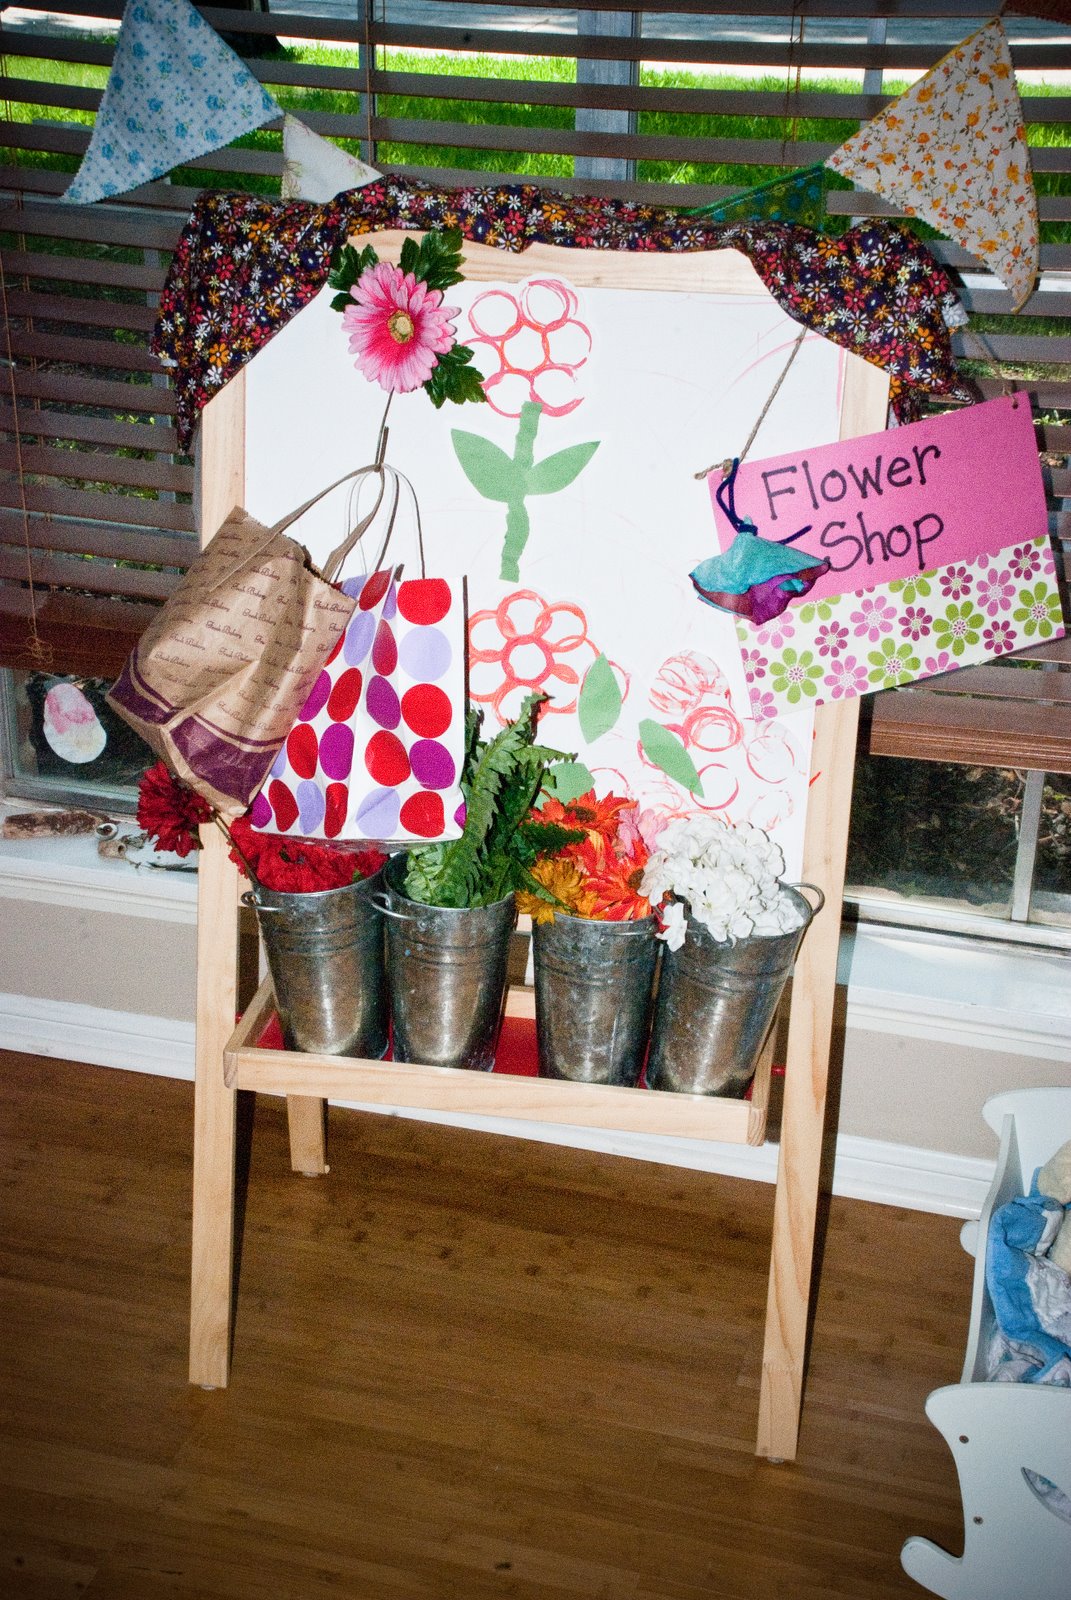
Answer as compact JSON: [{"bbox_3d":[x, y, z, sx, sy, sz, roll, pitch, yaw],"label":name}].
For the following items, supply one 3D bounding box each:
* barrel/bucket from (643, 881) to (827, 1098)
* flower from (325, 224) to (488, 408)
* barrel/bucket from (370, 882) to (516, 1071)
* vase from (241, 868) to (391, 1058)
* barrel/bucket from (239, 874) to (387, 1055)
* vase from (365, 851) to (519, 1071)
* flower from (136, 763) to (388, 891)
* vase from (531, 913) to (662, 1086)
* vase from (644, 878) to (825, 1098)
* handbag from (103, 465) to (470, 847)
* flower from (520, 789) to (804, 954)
[{"bbox_3d":[0.161,0.170,1.203,0.156,0.185,0.126,8,10,-7],"label":"barrel/bucket"},{"bbox_3d":[-0.114,-0.421,1.134,0.138,0.129,0.030,-5,23,27],"label":"flower"},{"bbox_3d":[-0.086,0.173,1.212,0.124,0.199,0.100,1,17,-3],"label":"barrel/bucket"},{"bbox_3d":[-0.202,0.162,1.260,0.114,0.169,0.141,-3,8,29],"label":"vase"},{"bbox_3d":[-0.204,0.160,1.261,0.113,0.170,0.147,7,17,44],"label":"barrel/bucket"},{"bbox_3d":[-0.075,0.177,1.233,0.140,0.162,0.110,2,-4,12],"label":"vase"},{"bbox_3d":[-0.264,0.037,1.208,0.201,0.087,0.115,26,-7,-20],"label":"flower"},{"bbox_3d":[0.055,0.180,1.219,0.121,0.164,0.117,-7,12,-37],"label":"vase"},{"bbox_3d":[0.169,0.173,1.209,0.146,0.191,0.132,4,12,-10],"label":"vase"},{"bbox_3d":[-0.210,-0.100,1.082,0.275,0.264,0.186,13,20,31],"label":"handbag"},{"bbox_3d":[0.107,0.066,1.138,0.234,0.128,0.101,8,18,18],"label":"flower"}]
